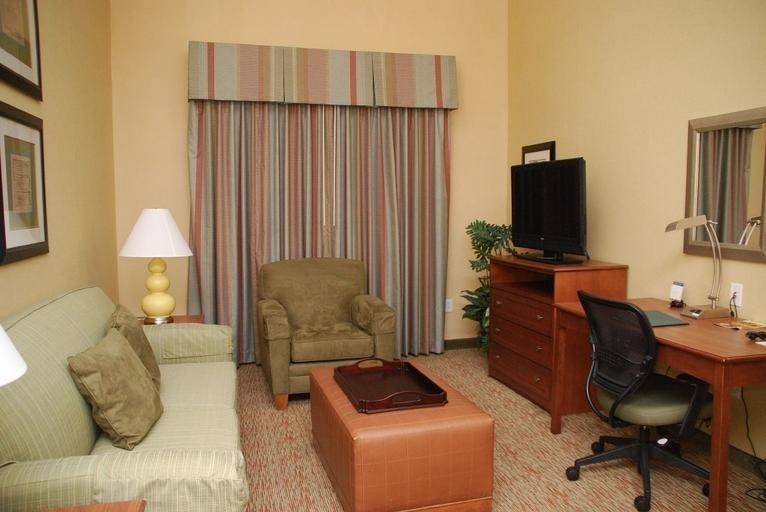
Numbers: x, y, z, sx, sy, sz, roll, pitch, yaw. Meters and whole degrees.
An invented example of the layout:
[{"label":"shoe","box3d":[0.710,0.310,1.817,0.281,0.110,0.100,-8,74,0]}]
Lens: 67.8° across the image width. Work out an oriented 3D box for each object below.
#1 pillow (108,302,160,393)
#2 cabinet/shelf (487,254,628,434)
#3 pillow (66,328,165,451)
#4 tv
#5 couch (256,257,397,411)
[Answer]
[{"label":"pillow","box3d":[-1.684,0.590,3.774,0.222,0.457,0.613,-10,-2,-16]},{"label":"cabinet/shelf","box3d":[1.433,0.660,4.964,0.630,1.254,1.187,-3,7,-15]},{"label":"pillow","box3d":[-1.530,0.765,3.347,0.396,0.531,0.726,6,8,-12]},{"label":"tv","box3d":[1.376,-0.372,4.780,0.214,0.809,0.880,-11,11,-26]},{"label":"couch","box3d":[-0.532,0.692,5.197,1.248,1.273,1.201,1,-3,-16]}]
